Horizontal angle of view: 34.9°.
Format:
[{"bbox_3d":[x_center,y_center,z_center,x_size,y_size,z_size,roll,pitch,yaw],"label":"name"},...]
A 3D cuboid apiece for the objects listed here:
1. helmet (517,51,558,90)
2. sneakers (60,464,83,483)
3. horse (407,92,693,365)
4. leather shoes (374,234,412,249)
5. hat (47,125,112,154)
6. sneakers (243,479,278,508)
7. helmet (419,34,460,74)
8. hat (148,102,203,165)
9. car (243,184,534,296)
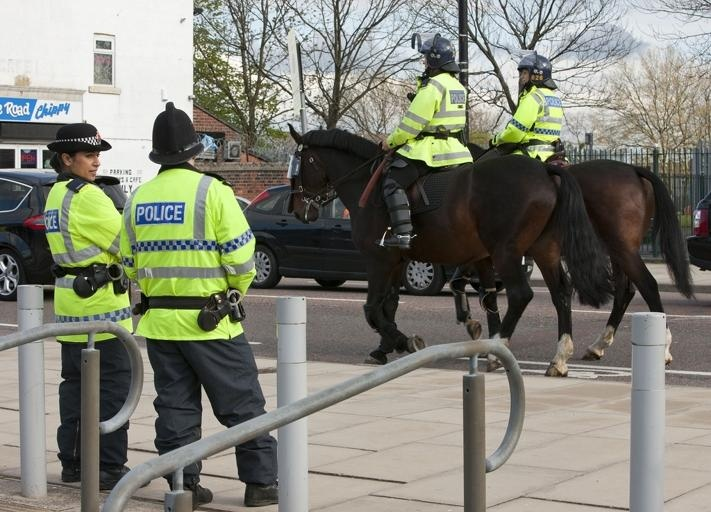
[{"bbox_3d":[2.045,-2.109,12.730,0.410,0.411,0.555,0,4,9],"label":"helmet"},{"bbox_3d":[-2.086,1.570,8.188,0.193,0.128,0.066,3,5,38],"label":"sneakers"},{"bbox_3d":[2.876,-0.110,13.623,0.989,2.659,3.840,1,-4,-20],"label":"horse"},{"bbox_3d":[0.417,-0.158,12.058,0.403,0.163,0.134,7,10,40],"label":"leather shoes"},{"bbox_3d":[-2.128,-0.852,8.472,0.336,0.106,0.279,-3,2,26],"label":"hat"},{"bbox_3d":[-0.643,1.617,7.663,0.311,0.112,0.110,-3,8,-22],"label":"sneakers"},{"bbox_3d":[0.860,-2.191,12.081,0.529,0.361,0.348,4,21,-15],"label":"helmet"},{"bbox_3d":[-1.264,-0.880,7.823,0.426,0.343,0.528,-7,24,-7],"label":"hat"},{"bbox_3d":[0.440,-0.318,19.160,4.668,1.448,2.062,-1,-1,23],"label":"car"}]
